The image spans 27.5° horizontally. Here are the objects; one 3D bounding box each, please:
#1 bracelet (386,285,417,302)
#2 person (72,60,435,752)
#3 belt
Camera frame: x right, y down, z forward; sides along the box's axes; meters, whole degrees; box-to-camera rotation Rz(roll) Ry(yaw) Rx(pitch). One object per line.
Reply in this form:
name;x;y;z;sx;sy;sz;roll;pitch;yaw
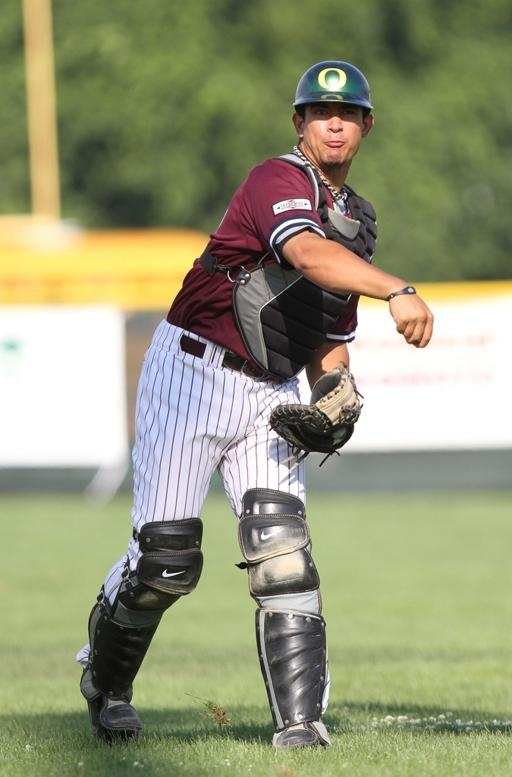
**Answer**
bracelet;0.355;-0.237;2.498;0.052;0.018;0.052;-24;-13;31
person;-0.045;0.212;3.068;0.900;2.181;1.273;1;27;-8
belt;-0.082;-0.065;3.089;0.196;0.048;0.188;23;-6;-34
